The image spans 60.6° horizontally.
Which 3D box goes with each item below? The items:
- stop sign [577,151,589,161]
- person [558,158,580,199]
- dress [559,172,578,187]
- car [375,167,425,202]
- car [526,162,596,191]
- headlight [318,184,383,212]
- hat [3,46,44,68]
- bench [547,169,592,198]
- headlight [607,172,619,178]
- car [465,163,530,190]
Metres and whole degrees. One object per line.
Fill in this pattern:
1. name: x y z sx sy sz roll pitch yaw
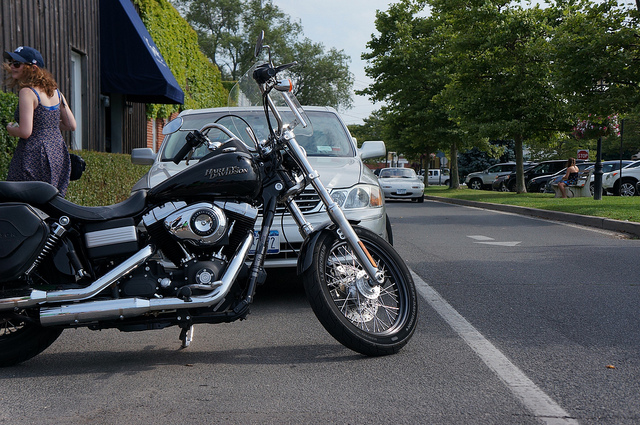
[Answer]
1. stop sign: 14.869 -3.228 31.166 0.846 0.745 0.154 1 -2 7
2. person: 10.217 -1.428 22.645 0.673 1.624 1.539 2 7 25
3. dress: 10.137 -1.373 22.372 0.580 0.527 0.382 2 7 23
4. car: 3.654 -1.382 26.077 1.761 1.349 3.984 -1 -1 0
5. car: 15.298 -1.919 33.372 4.689 2.036 2.296 -1 3 6
6. headlight: 0.300 -0.154 5.959 0.316 0.152 0.559 -1 -2 5
7. hat: -2.980 -1.552 5.518 0.313 0.156 0.207 8 13 -40
8. bench: 10.907 -1.253 23.980 0.997 1.315 1.838 2 -1 -12
9. headlight: 12.485 -1.607 23.539 0.343 0.222 0.135 2 7 25
10. car: 13.525 -2.935 43.707 3.828 1.632 1.863 1 4 19
